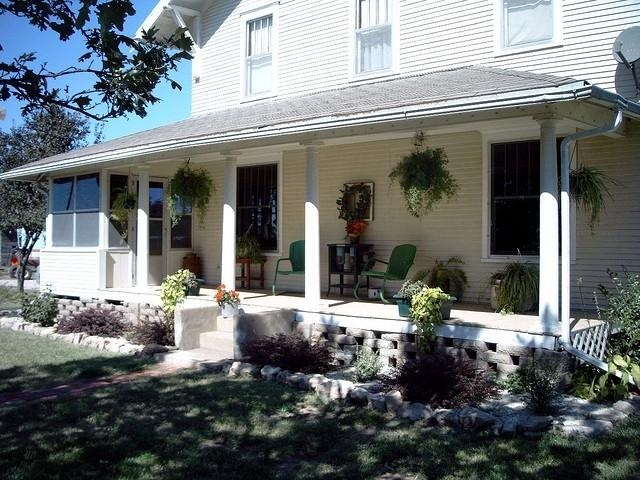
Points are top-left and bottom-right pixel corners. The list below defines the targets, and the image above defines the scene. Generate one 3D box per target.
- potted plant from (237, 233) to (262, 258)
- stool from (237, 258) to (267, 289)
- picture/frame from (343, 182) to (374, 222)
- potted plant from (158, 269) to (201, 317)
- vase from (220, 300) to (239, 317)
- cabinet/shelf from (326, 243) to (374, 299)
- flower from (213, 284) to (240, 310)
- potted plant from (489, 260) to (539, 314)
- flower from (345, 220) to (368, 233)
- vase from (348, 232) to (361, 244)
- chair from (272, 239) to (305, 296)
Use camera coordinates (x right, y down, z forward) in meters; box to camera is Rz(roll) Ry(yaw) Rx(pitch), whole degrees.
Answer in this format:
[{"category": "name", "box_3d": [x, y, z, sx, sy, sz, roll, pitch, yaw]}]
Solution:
[{"category": "potted plant", "box_3d": [-1.676, 0.161, 11.438, 0.488, 0.722, 0.489, 2, -9, -9]}, {"category": "stool", "box_3d": [-1.669, 0.727, 11.364, 0.738, 0.784, 0.681, 1, 4, 21]}, {"category": "picture/frame", "box_3d": [0.756, -0.804, 10.057, 0.766, 0.840, 0.273, 2, 3, 39]}, {"category": "potted plant", "box_3d": [-2.827, 1.051, 9.627, 0.480, 0.825, 0.816, 1, 3, 25]}, {"category": "vase", "box_3d": [-1.600, 1.215, 8.502, 0.249, 0.214, 0.266, -1, -7, 23]}, {"category": "cabinet/shelf", "box_3d": [0.621, 0.595, 9.821, 0.749, 1.094, 0.681, 0, 0, 42]}, {"category": "flower", "box_3d": [-1.646, 1.015, 8.577, 0.353, 0.313, 0.412, 3, 2, -4]}, {"category": "potted plant", "box_3d": [3.234, 0.829, 8.115, 0.768, 0.808, 0.891, 1, 4, 11]}, {"category": "flower", "box_3d": [0.779, -0.285, 9.861, 0.279, 0.239, 0.276, -5, 5, -42]}, {"category": "vase", "box_3d": [0.727, -0.038, 9.906, 0.189, 0.168, 0.179, 4, -4, -44]}, {"category": "chair", "box_3d": [-0.674, 0.480, 10.765, 0.885, 1.512, 0.876, 0, -8, -1]}]
